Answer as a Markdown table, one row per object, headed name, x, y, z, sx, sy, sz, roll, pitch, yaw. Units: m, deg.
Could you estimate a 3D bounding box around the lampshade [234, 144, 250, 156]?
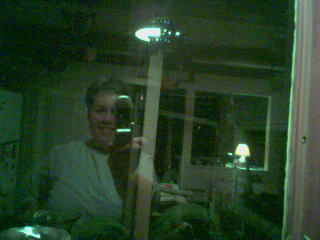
| name | x | y | z | sx | sy | sz | roll | pitch | yaw |
| --- | --- | --- | --- | --- | --- | --- | --- | --- | --- |
| lampshade | 0.429 | 0.156 | 1.722 | 0.069 | 0.057 | 0.064 | 6 | -12 | -22 |
